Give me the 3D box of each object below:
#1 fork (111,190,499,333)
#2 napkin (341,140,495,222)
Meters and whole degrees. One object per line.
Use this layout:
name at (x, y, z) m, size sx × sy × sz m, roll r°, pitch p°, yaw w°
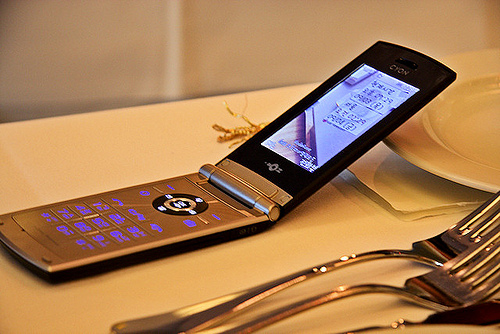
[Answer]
fork at (0.047, 0.099, 0.446) m, size 0.435 × 0.053 × 0.056 m, roll -8°, pitch -58°, yaw -22°
napkin at (0.198, 0.025, 0.552) m, size 0.134 × 0.117 × 0.018 m, roll -21°, pitch -53°, yaw -23°
